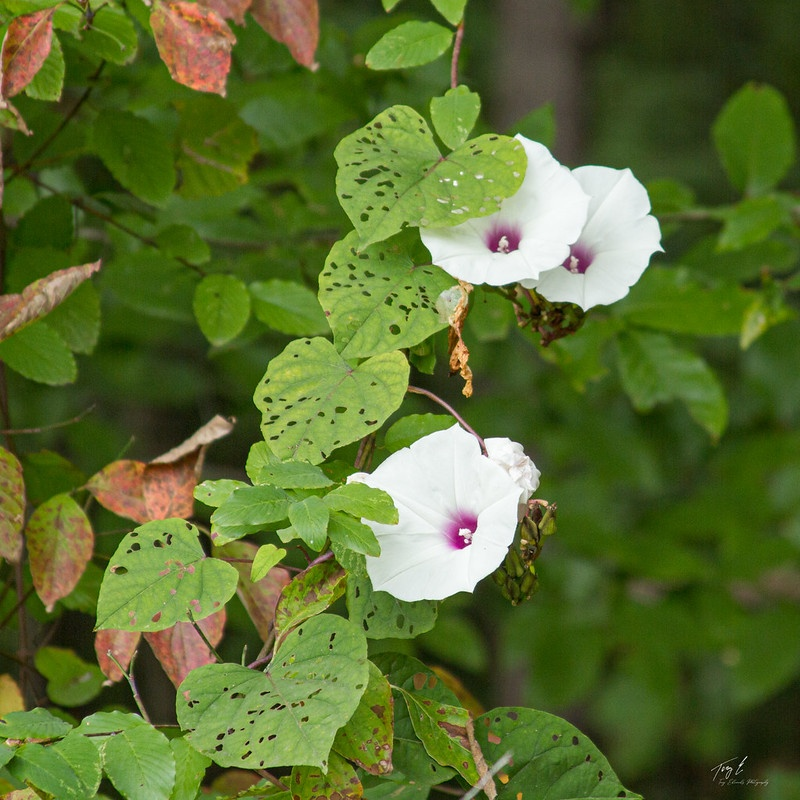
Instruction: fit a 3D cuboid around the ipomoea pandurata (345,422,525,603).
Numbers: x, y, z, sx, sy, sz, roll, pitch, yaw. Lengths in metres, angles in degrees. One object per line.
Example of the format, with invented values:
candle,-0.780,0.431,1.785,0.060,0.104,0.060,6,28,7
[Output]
ipomoea pandurata,0.057,0.135,1.678,0.181,0.090,0.201,-31,73,4
